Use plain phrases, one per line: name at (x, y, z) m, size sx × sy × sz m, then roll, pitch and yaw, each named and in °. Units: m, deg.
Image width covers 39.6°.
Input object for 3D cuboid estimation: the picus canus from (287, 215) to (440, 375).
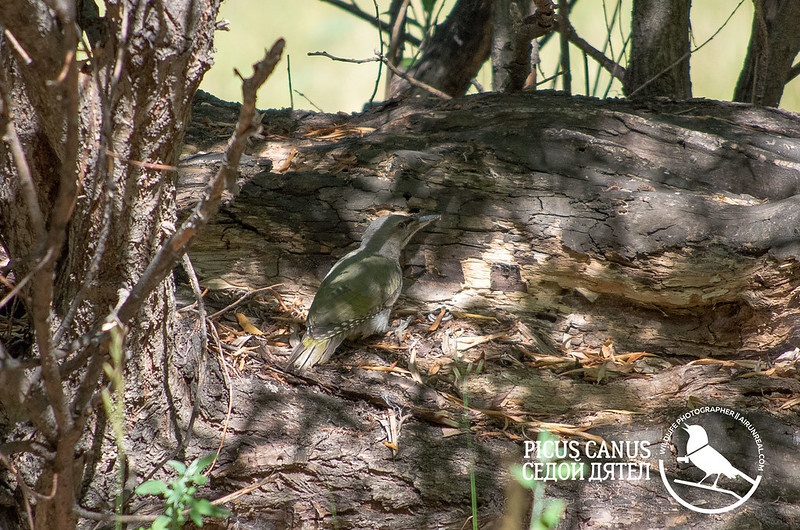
picus canus at (-0.336, 0.179, 7.775) m, size 0.870 × 1.321 × 0.386 m, roll 21°, pitch -19°, yaw -33°
